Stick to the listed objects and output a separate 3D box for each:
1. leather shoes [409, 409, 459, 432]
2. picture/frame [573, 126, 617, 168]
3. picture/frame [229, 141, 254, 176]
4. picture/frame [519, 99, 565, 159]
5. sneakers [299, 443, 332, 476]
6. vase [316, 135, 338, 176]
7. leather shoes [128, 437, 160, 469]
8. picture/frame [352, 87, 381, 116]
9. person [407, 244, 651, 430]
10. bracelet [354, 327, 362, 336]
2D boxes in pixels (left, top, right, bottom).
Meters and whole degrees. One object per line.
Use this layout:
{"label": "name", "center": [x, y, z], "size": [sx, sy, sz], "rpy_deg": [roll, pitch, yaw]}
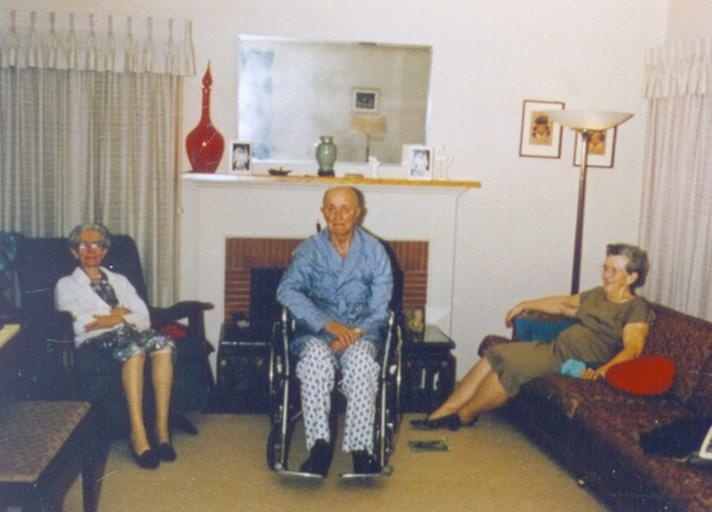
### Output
{"label": "leather shoes", "center": [0.537, 1.137, 4.835], "size": [0.337, 0.143, 0.127], "rpy_deg": [3, -1, 1]}
{"label": "picture/frame", "center": [1.833, -0.853, 5.404], "size": [0.347, 0.436, 0.028], "rpy_deg": [0, 6, -4]}
{"label": "picture/frame", "center": [-0.834, -0.710, 5.075], "size": [0.237, 0.352, 0.039], "rpy_deg": [1, 12, -3]}
{"label": "picture/frame", "center": [1.428, -1.008, 5.429], "size": [0.430, 0.629, 0.024], "rpy_deg": [-1, 15, -5]}
{"label": "sneakers", "center": [-0.237, 1.228, 4.239], "size": [0.213, 0.234, 0.122], "rpy_deg": [-3, 12, -13]}
{"label": "vase", "center": [-0.220, -0.745, 5.196], "size": [0.156, 0.287, 0.259], "rpy_deg": [-1, 12, -4]}
{"label": "leather shoes", "center": [-1.297, 1.237, 4.309], "size": [0.159, 0.118, 0.104], "rpy_deg": [-2, 12, -9]}
{"label": "picture/frame", "center": [0.069, -1.178, 5.309], "size": [0.204, 0.183, 0.024], "rpy_deg": [0, 4, -4]}
{"label": "person", "center": [1.183, 0.535, 4.600], "size": [1.651, 1.029, 1.049], "rpy_deg": [-8, 13, -15]}
{"label": "bracelet", "center": [0.017, 0.482, 4.465], "size": [0.042, 0.044, 0.044], "rpy_deg": [1, 8, 2]}
